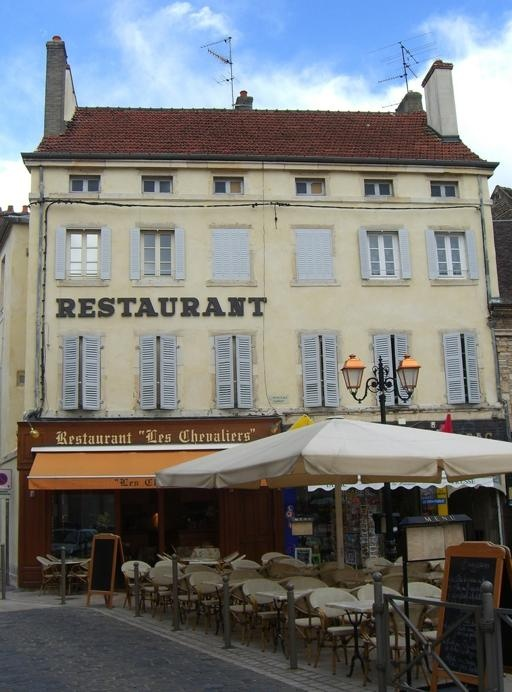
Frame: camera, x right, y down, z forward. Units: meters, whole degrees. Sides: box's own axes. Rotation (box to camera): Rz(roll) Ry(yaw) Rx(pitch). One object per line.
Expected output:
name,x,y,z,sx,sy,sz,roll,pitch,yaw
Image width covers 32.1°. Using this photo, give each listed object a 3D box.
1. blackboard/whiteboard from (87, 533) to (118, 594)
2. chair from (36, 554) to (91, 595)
blackboard/whiteboard,-2.543,3.599,14.617,0.602,0.956,0.437,-4,-8,11
chair,-3.808,4.525,17.469,1.492,0.665,0.746,0,-26,-3
